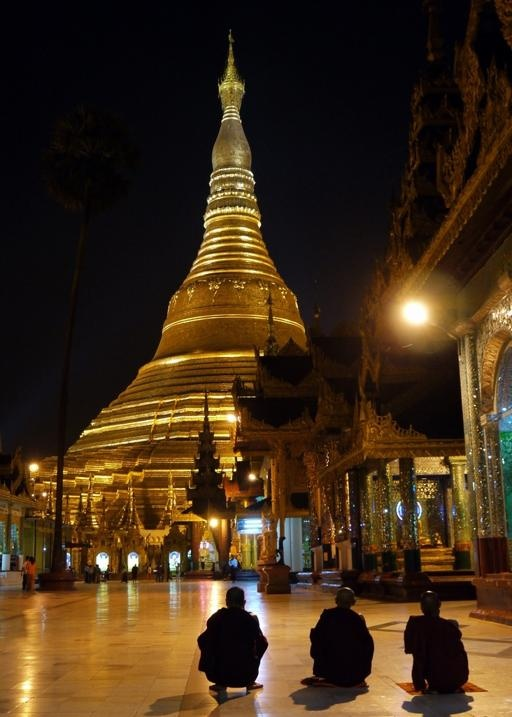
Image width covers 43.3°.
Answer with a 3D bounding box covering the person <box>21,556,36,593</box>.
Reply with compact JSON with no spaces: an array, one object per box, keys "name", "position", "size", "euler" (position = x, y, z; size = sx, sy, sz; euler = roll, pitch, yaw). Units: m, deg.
[{"name":"person","position":[-8.293,7.837,23.538],"size":[0.373,1.203,1.592],"euler":[4,-19,-20]}]
